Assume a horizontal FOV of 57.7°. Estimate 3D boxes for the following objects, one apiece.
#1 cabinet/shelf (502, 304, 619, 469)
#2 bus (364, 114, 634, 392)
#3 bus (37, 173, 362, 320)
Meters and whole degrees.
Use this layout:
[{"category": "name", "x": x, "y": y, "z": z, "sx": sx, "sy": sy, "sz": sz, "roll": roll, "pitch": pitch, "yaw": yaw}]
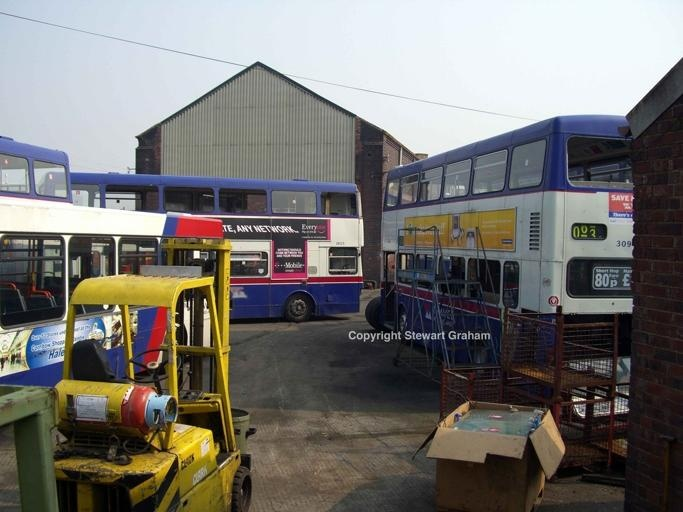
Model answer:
[{"category": "cabinet/shelf", "x": 3.371, "y": 1.958, "z": 9.422, "sx": 1.186, "sy": 2.280, "sz": 1.171, "roll": 2, "pitch": 2, "yaw": -25}, {"category": "bus", "x": 3.427, "y": -0.276, "z": 15.555, "sx": 2.584, "sy": 4.858, "sz": 8.867, "roll": 0, "pitch": 1, "yaw": -16}, {"category": "bus", "x": -3.244, "y": -0.286, "z": 22.223, "sx": 8.579, "sy": 4.973, "sz": 2.728, "roll": 0, "pitch": 6, "yaw": 8}]
